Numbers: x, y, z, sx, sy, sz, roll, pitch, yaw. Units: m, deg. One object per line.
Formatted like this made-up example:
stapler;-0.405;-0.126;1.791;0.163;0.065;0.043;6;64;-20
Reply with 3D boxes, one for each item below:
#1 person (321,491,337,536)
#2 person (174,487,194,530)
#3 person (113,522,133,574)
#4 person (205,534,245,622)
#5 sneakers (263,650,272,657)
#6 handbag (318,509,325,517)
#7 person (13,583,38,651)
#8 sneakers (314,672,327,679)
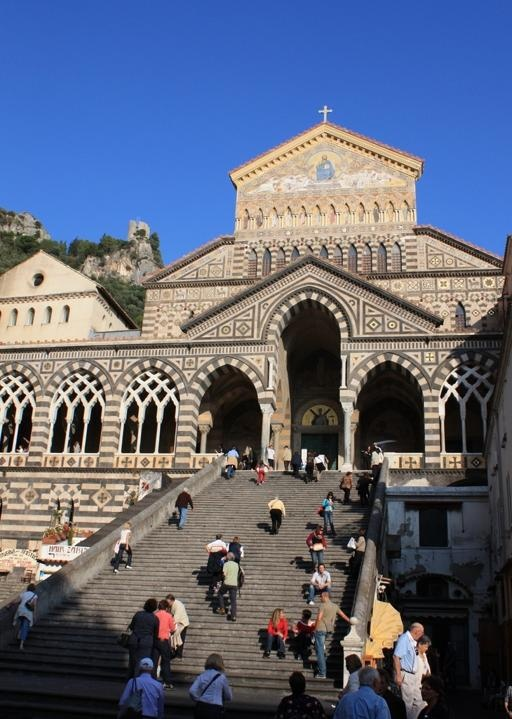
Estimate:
person;1.922;4.107;17.308;0.319;1.013;0.910;-2;6;5
person;-2.049;4.197;18.417;0.451;1.071;1.107;-3;6;-7
person;-3.348;4.528;15.920;0.484;1.386;1.338;-4;6;-14
person;-0.601;4.430;13.078;0.666;1.414;1.319;-3;6;-4
sneakers;0.194;5.204;11.412;0.072;0.127;0.182;4;-34;-4
handbag;1.770;4.147;17.509;0.168;0.209;0.199;1;13;3
person;-4.547;4.977;12.576;0.417;1.007;0.849;-3;6;-5
sneakers;1.055;5.148;10.508;0.213;0.090;0.082;2;-27;6
